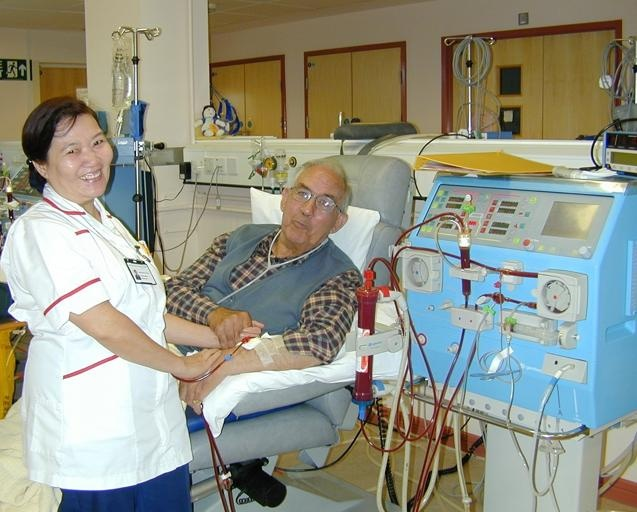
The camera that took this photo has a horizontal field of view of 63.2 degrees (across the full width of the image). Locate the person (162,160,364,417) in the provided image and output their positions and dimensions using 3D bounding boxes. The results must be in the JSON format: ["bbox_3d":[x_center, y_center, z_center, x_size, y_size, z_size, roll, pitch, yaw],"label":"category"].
[{"bbox_3d":[-0.135,0.099,1.868,0.635,0.589,0.846,20,26,35],"label":"person"}]

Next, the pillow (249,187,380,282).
[{"bbox_3d":[-0.020,-0.133,2.128,0.385,0.452,0.375,6,-5,10],"label":"pillow"}]

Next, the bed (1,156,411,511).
[{"bbox_3d":[-0.360,0.200,1.919,1.272,1.208,0.983,-8,5,-32],"label":"bed"}]

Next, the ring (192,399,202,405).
[{"bbox_3d":[-0.361,0.435,1.536,0.026,0.022,0.007,4,2,38],"label":"ring"}]
